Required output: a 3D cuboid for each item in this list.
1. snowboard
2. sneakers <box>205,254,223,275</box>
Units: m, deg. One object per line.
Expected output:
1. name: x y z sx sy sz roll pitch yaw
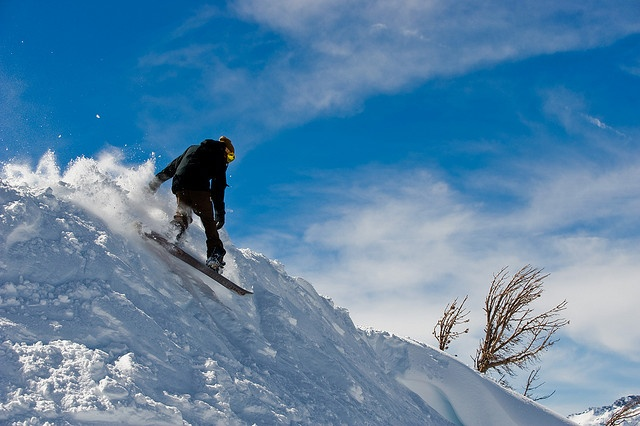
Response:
1. snowboard: -2.640 1.002 16.938 2.839 0.196 0.296 34 -28 -14
2. sneakers: -2.144 0.979 17.319 0.188 0.230 0.604 -14 2 1
